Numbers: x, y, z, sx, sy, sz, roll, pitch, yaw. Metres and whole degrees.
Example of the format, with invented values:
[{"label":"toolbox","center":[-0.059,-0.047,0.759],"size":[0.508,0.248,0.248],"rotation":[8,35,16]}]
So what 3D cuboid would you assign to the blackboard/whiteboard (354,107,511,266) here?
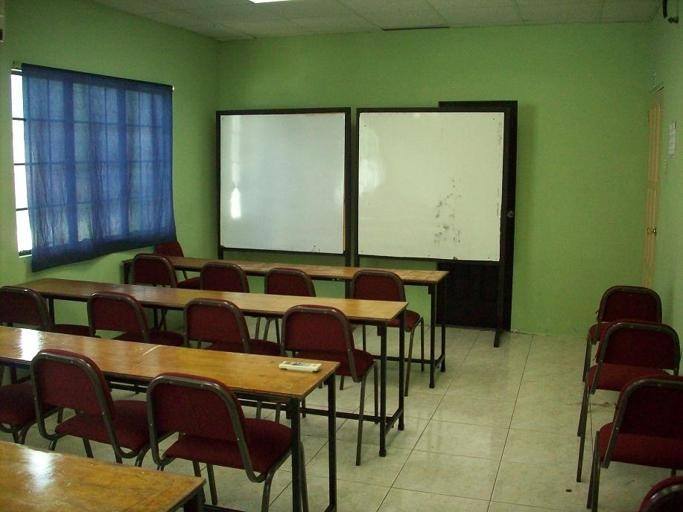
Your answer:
[{"label":"blackboard/whiteboard","center":[1.094,-0.839,6.570],"size":[1.775,1.809,0.066],"rotation":[2,7,18]}]

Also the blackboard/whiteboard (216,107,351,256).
[{"label":"blackboard/whiteboard","center":[-0.652,-0.954,7.088],"size":[1.787,1.824,0.084],"rotation":[2,8,19]}]
